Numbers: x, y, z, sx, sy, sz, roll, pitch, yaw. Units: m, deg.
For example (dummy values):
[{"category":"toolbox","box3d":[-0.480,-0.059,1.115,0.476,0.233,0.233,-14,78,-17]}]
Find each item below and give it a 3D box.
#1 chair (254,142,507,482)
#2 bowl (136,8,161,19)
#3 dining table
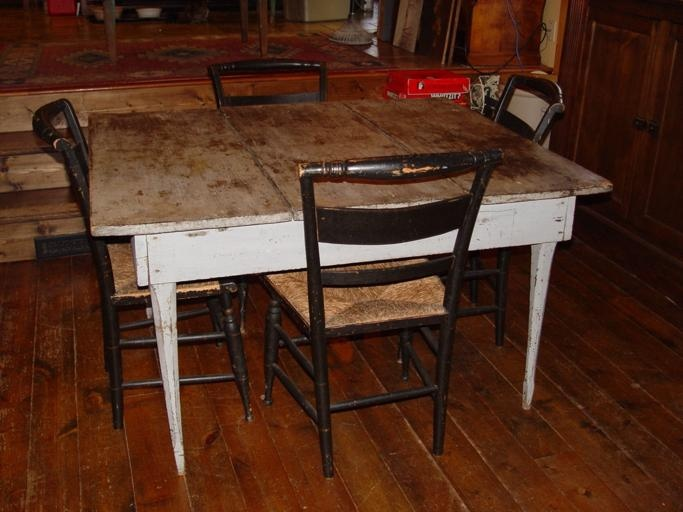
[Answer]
[{"category":"chair","box3d":[0.097,0.153,1.815,0.710,1.093,0.478,-3,31,-9]},{"category":"bowl","box3d":[-2.266,-2.852,6.645,0.202,0.111,0.195,2,26,-1]},{"category":"dining table","box3d":[-0.060,-0.042,2.288,1.653,0.835,1.344,-10,29,-21]}]
